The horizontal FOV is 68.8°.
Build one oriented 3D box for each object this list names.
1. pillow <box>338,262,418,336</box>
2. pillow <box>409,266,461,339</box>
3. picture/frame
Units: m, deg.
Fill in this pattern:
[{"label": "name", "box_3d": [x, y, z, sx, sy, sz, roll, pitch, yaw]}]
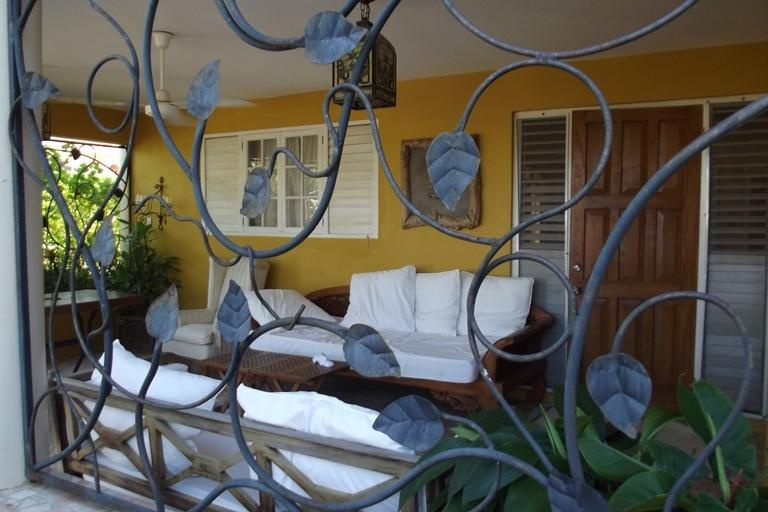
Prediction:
[{"label": "pillow", "box_3d": [0.000, 0.393, 5.150, 0.612, 0.628, 0.187, -3, -14, 32]}, {"label": "pillow", "box_3d": [0.455, 0.446, 4.973, 0.500, 0.551, 0.189, -6, -24, 33]}, {"label": "picture/frame", "box_3d": [0.505, -0.668, 5.155, 0.769, 0.839, 0.309, 5, 6, 39]}]
